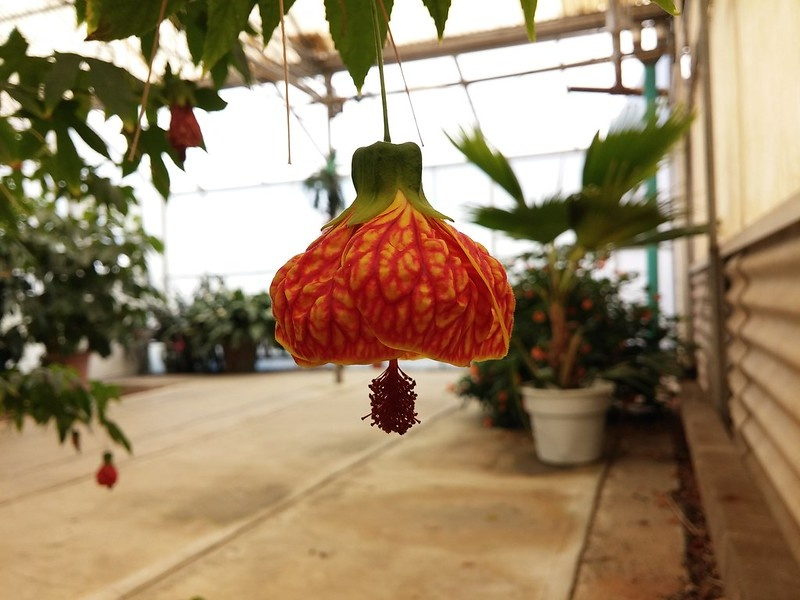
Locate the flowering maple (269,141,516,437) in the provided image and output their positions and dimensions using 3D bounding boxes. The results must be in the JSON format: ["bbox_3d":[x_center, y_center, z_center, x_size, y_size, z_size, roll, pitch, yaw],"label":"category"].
[{"bbox_3d":[-0.016,-0.008,0.628,0.242,0.300,0.248,-5,3,31],"label":"flowering maple"}]

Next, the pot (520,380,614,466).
[{"bbox_3d":[0.695,0.515,2.386,0.318,0.270,0.341,-3,-5,0],"label":"pot"}]

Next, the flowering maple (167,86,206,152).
[{"bbox_3d":[-0.283,-0.238,0.761,0.045,0.041,0.095,-8,-37,-30],"label":"flowering maple"}]
